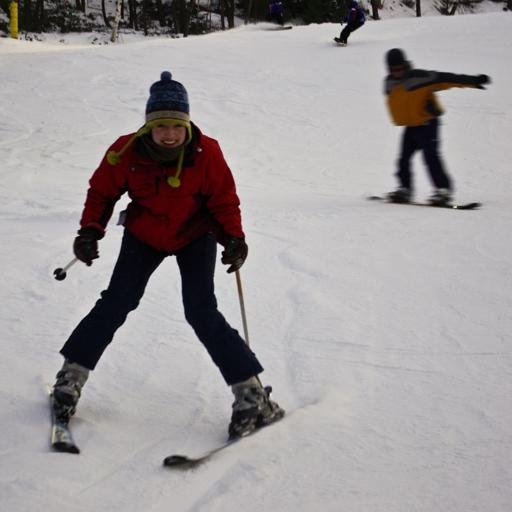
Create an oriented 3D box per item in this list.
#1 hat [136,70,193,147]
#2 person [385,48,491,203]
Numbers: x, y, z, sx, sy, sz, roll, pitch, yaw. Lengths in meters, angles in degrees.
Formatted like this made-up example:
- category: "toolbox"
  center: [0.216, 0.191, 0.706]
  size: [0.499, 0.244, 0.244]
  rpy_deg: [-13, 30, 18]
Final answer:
- category: "hat"
  center: [-0.390, -0.642, 3.275]
  size: [0.192, 0.303, 0.295]
  rpy_deg: [-3, 15, -5]
- category: "person"
  center: [1.659, -1.248, 7.201]
  size: [0.844, 1.408, 0.467]
  rpy_deg: [5, 16, 23]
